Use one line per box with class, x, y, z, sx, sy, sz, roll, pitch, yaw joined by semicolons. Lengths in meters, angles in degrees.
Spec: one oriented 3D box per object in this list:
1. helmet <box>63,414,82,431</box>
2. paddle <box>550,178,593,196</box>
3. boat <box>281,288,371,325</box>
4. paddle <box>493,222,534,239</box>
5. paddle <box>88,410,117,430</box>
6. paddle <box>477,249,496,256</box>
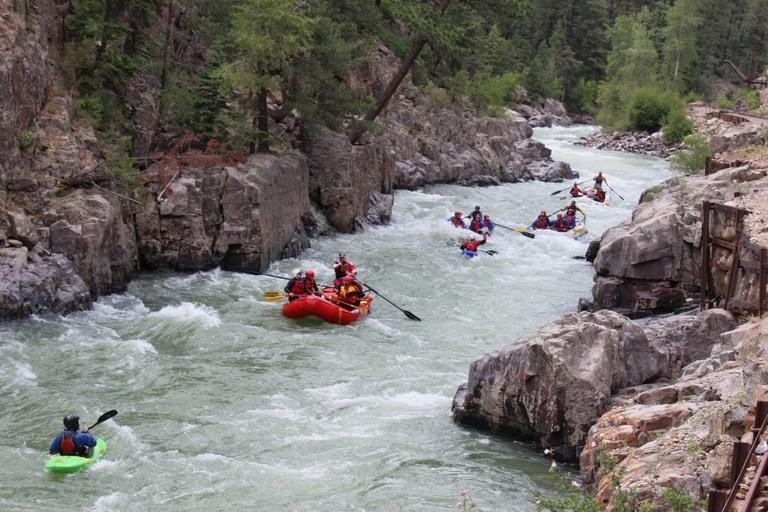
helmet;-10.559;5.528;38.332;0.473;0.500;0.506;1;54;1
paddle;11.666;-4.279;71.282;4.415;0.461;0.221;-25;11;-36
boat;-2.451;2.064;46.976;3.546;1.060;1.101;5;10;-11
paddle;6.716;-1.314;59.767;2.471;0.278;0.174;22;13;30
paddle;-9.806;5.613;39.436;1.159;0.169;0.123;-32;-1;18
paddle;5.006;-0.273;55.643;0.962;0.150;0.258;11;-20;16
